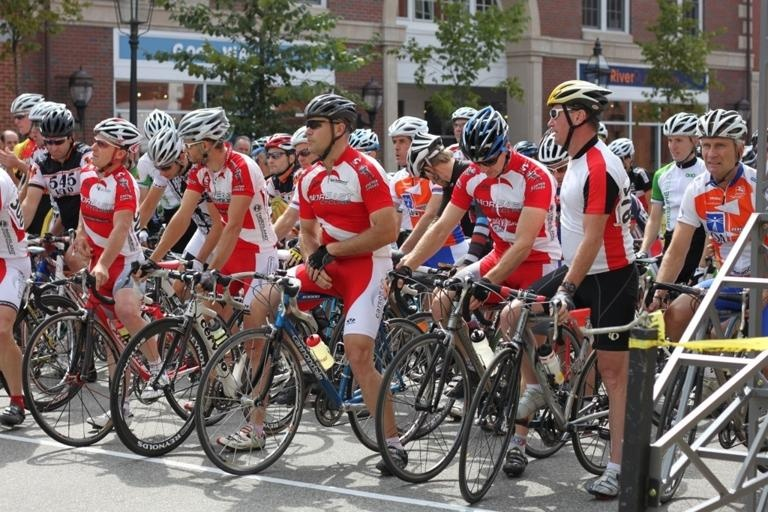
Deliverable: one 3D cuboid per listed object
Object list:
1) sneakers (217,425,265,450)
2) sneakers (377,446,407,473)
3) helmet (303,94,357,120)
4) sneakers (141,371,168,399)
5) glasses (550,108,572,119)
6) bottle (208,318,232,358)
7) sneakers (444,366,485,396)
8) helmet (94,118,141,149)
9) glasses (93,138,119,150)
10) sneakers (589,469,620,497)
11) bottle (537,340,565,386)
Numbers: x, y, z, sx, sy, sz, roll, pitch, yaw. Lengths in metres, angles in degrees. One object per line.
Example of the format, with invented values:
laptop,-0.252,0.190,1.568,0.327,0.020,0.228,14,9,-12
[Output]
sneakers,-1.225,1.614,8.204,0.494,0.235,0.179,5,-4,-18
sneakers,0.006,1.730,7.815,0.319,0.223,0.163,6,-4,-29
helmet,-0.451,-1.274,7.903,0.344,0.146,0.248,-3,9,-28
sneakers,-2.054,1.190,8.364,0.271,0.117,0.198,-19,11,-33
glasses,1.422,-1.172,7.528,0.107,0.041,0.091,2,-1,-13
bottle,-1.521,0.750,8.554,0.215,0.295,0.094,-26,6,-15
sneakers,0.714,1.109,8.084,0.182,0.151,0.339,-15,2,29
helmet,-2.615,-1.225,9.060,0.402,0.213,0.284,18,12,-12
glasses,-2.705,-1.092,9.011,0.182,0.098,0.137,15,7,-21
sneakers,1.789,1.860,7.524,0.261,0.234,0.179,5,13,19
bottle,1.415,0.940,7.835,0.185,0.361,0.150,-34,29,-24
